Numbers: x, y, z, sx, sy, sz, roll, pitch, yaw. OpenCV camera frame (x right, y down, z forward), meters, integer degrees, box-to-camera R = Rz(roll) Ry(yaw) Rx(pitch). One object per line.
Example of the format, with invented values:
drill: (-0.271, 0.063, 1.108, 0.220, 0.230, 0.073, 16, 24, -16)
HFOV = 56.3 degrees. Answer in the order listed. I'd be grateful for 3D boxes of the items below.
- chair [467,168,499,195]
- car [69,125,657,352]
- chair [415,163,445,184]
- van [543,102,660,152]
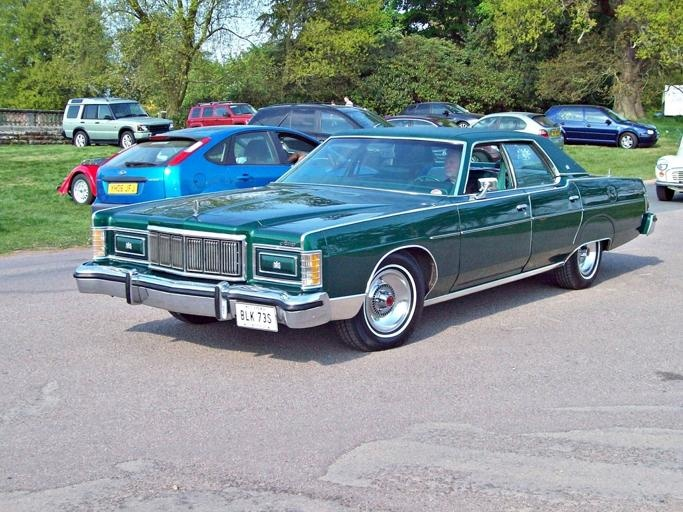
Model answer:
chair: (1.523, -0.805, 6.924, 0.376, 0.122, 0.410, 1, 16, 8)
car: (1.038, -0.285, 6.727, 5.493, 1.063, 2.613, -6, 9, -37)
chair: (0.920, -0.814, 6.451, 0.298, 0.192, 0.229, 1, 2, 26)
van: (12.345, -6.015, 29.842, 6.253, 1.541, 2.473, 5, 14, 23)
